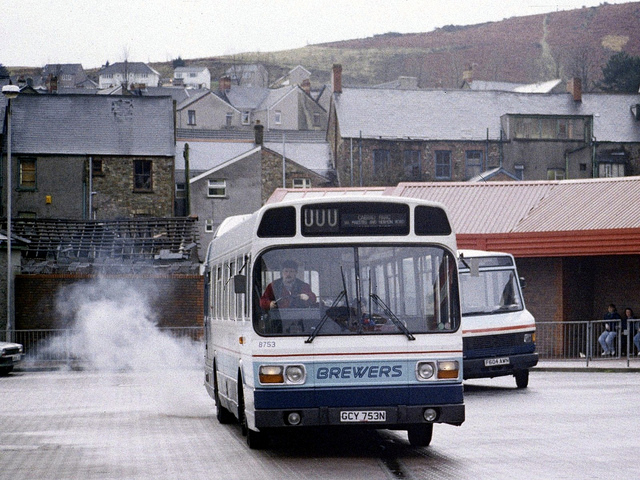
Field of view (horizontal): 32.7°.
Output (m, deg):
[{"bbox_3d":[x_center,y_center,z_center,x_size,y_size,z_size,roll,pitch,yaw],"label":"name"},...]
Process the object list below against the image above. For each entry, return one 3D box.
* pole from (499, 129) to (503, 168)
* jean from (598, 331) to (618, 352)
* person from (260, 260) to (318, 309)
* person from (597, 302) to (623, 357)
[{"bbox_3d":[12.682,-6.453,76.343,0.249,2.290,0.768,-2,-1,10],"label":"pole"},{"bbox_3d":[9.274,3.253,34.985,0.584,1.054,0.643,2,-3,12],"label":"jean"},{"bbox_3d":[-0.574,0.949,20.870,1.167,1.055,0.738,0,-7,-2],"label":"person"},{"bbox_3d":[9.566,2.967,36.025,0.699,1.575,2.424,-2,-1,15],"label":"person"}]
